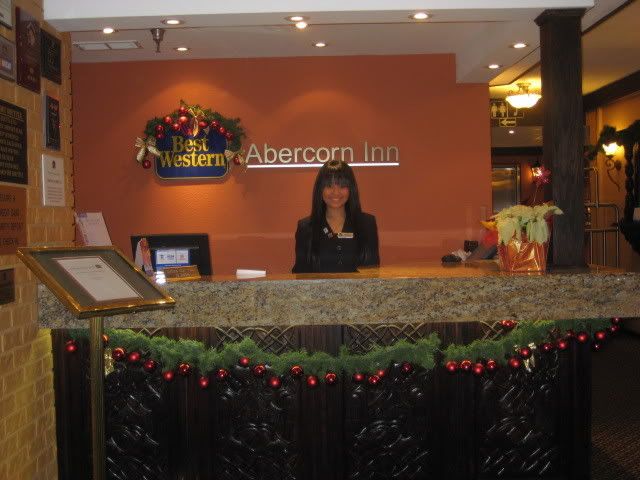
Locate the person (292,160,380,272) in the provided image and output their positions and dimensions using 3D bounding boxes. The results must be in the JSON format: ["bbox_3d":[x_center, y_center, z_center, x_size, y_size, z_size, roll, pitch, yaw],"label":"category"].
[{"bbox_3d":[0.114,-0.186,4.135,0.676,0.656,0.263,-2,1,-4],"label":"person"}]

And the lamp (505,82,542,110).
[{"bbox_3d":[2.625,-1.870,6.934,0.407,0.323,0.427,5,9,17],"label":"lamp"}]

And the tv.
[{"bbox_3d":[-0.859,0.064,3.215,0.464,0.355,0.245,0,-6,-16],"label":"tv"}]
